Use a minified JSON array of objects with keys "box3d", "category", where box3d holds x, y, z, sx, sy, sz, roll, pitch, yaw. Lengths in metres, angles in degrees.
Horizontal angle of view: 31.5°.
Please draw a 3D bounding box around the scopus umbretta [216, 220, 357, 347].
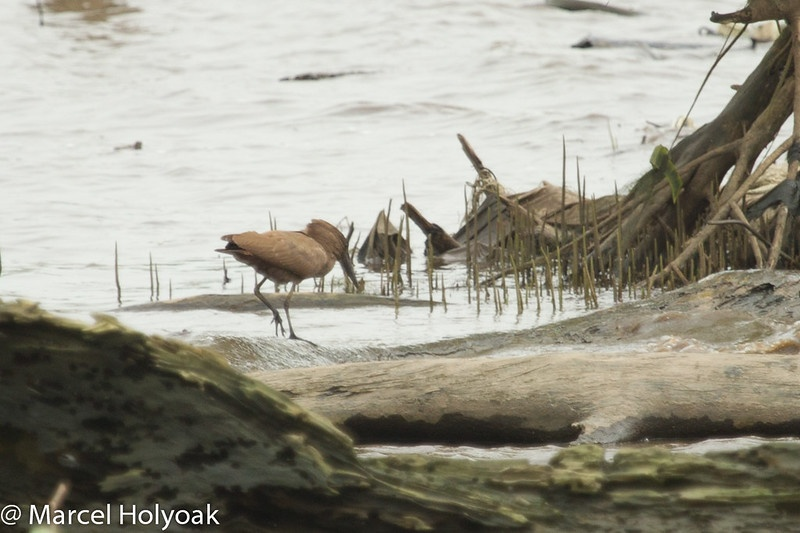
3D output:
[{"box3d":[-1.142,0.234,14.628,0.527,0.913,1.544,8,1,38],"category":"scopus umbretta"}]
